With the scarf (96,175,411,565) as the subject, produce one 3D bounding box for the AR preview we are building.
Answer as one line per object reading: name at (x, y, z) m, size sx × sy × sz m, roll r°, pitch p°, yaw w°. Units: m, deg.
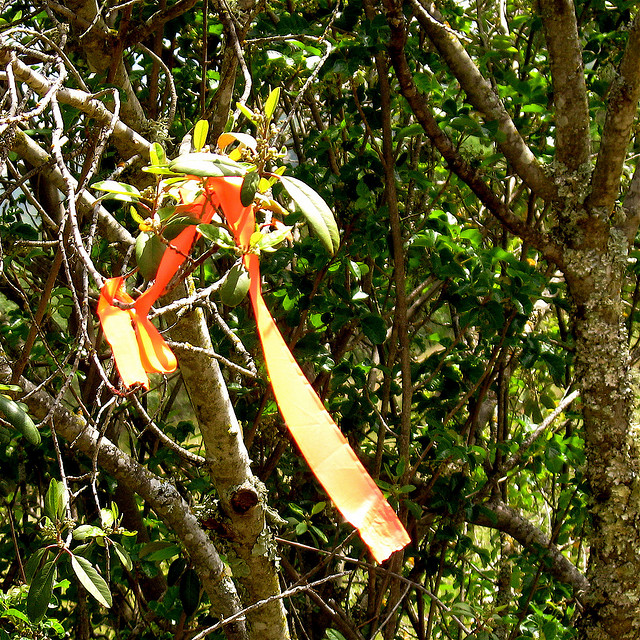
scarf at (-0.140, 0.132, 3.108) m, size 0.642 × 1.027 × 0.312 m, roll -7°, pitch -48°, yaw -55°
